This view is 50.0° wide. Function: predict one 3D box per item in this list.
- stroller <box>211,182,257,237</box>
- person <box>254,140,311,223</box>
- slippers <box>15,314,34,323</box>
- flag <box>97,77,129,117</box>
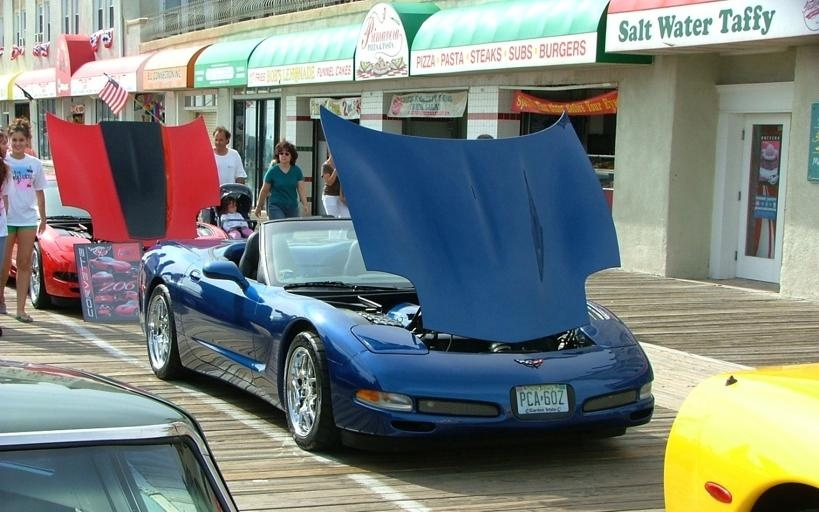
[{"bbox_3d":[-2.749,-0.739,15.301,0.836,1.198,0.985,0,-2,-38],"label":"stroller"},{"bbox_3d":[-2.236,-1.159,15.389,0.704,1.983,0.750,0,2,-17],"label":"person"},{"bbox_3d":[-5.349,0.884,12.198,0.262,0.098,0.092,1,9,18],"label":"slippers"},{"bbox_3d":[-9.247,-4.900,27.494,0.673,1.049,2.206,-3,11,-18],"label":"flag"}]
